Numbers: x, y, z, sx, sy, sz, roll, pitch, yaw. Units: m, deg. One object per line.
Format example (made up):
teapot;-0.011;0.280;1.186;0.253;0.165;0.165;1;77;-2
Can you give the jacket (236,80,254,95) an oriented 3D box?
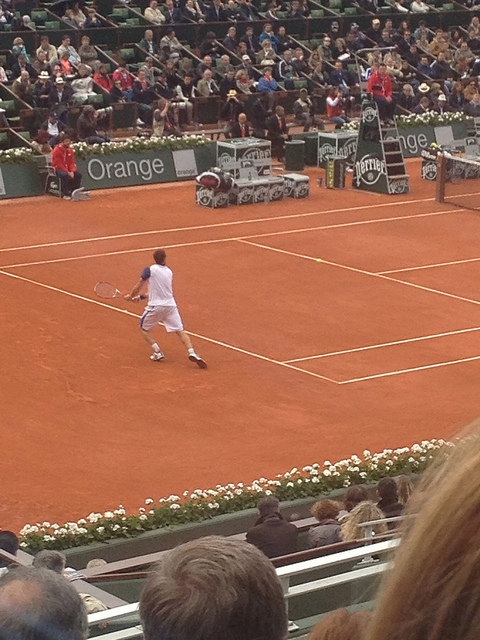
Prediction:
jacket;0.137;-6.481;35.402;0.398;0.280;0.564;1;25;-8

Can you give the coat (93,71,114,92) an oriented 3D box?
coat;-3.529;-6.175;33.071;0.303;0.515;0.508;-38;27;28

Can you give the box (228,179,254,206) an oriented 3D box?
box;0.022;-2.772;27.671;0.588;0.510;0.557;-7;24;-12

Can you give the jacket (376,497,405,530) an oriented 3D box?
jacket;1.094;1.367;9.227;0.177;0.109;0.432;-4;5;4

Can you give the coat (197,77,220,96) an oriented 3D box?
coat;-0.879;-6.371;34.832;0.526;0.394;0.269;-28;19;-30

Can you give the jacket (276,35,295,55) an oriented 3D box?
jacket;1.421;-8.512;39.470;0.422;0.641;1.007;-4;6;12

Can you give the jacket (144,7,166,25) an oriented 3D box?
jacket;-2.508;-9.160;38.425;0.723;0.534;0.506;-9;7;-39

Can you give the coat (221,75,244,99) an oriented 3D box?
coat;-0.308;-6.329;34.662;0.276;0.620;0.466;-2;7;27

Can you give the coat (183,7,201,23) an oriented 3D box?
coat;-1.452;-9.426;39.419;0.531;0.468;0.480;-5;6;-5

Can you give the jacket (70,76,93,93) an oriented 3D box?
jacket;-3.965;-5.971;32.409;0.618;0.395;0.354;-7;6;-22

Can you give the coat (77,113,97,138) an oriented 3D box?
coat;-3.592;-4.630;29.983;0.539;0.656;0.561;-3;31;-3

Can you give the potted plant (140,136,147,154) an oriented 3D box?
potted plant;-2.203;-4.008;29.243;0.171;0.361;0.496;-6;6;-4

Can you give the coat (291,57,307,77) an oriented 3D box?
coat;1.739;-7.457;37.643;0.327;0.570;0.484;9;42;38

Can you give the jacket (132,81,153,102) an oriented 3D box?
jacket;-2.587;-6.055;33.685;0.395;0.506;0.569;13;30;21

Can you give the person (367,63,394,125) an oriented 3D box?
person;3.321;-5.323;30.053;0.537;1.432;1.146;-4;6;8

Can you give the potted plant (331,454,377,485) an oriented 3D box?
potted plant;1.033;1.328;11.311;0.276;0.105;0.267;2;16;8

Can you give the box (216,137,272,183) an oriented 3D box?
box;0.123;-3.475;27.835;1.129;0.922;0.786;-5;6;-2

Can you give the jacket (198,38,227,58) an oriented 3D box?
jacket;-0.761;-8.014;37.463;0.835;0.527;0.598;-6;6;-18

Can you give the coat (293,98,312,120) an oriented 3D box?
coat;1.735;-5.734;34.622;0.367;0.523;0.576;13;27;36

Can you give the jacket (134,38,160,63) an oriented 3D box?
jacket;-2.688;-7.749;36.566;0.711;0.721;1.285;-5;6;-1

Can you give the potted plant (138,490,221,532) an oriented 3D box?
potted plant;-0.492;1.565;10.415;0.521;0.113;0.321;-5;8;-38

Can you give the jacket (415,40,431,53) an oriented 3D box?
jacket;6.215;-9.241;42.993;0.389;0.473;0.799;0;7;38

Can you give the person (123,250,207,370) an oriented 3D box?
person;-0.927;-0.126;15.496;0.867;1.457;0.759;-6;6;-5

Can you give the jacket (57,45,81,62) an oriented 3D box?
jacket;-4.537;-7.093;33.748;0.544;0.404;0.523;1;-29;15

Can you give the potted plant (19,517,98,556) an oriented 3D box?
potted plant;-1.420;1.689;9.965;0.465;0.172;0.406;-1;8;-10

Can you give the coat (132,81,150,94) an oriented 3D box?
coat;-2.604;-6.120;33.574;0.367;0.312;0.198;-20;10;-38

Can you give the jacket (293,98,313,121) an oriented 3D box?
jacket;1.738;-5.730;34.632;0.318;0.535;0.540;29;51;35

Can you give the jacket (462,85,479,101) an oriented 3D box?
jacket;7.091;-7.001;39.190;0.495;0.198;0.580;4;23;5

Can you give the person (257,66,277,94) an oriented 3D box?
person;0.762;-6.676;35.576;0.547;0.804;1.167;-5;6;2

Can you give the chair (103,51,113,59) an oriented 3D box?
chair;-3.715;-7.557;36.289;0.151;0.180;0.191;2;28;11

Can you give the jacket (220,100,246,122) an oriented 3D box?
jacket;-0.200;-5.662;34.299;0.651;0.766;0.282;3;1;1

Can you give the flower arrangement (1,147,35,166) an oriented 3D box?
flower arrangement;-4.714;-3.498;27.187;0.953;0.334;0.438;-8;7;-38

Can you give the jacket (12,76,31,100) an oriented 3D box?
jacket;-5.235;-5.571;30.614;0.426;0.547;0.492;-6;6;-9

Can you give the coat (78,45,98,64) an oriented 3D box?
coat;-4.053;-7.181;34.469;0.590;0.533;0.294;-9;7;-37

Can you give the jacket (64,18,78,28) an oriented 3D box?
jacket;-4.760;-8.428;36.128;0.348;0.288;0.456;-5;6;-5
